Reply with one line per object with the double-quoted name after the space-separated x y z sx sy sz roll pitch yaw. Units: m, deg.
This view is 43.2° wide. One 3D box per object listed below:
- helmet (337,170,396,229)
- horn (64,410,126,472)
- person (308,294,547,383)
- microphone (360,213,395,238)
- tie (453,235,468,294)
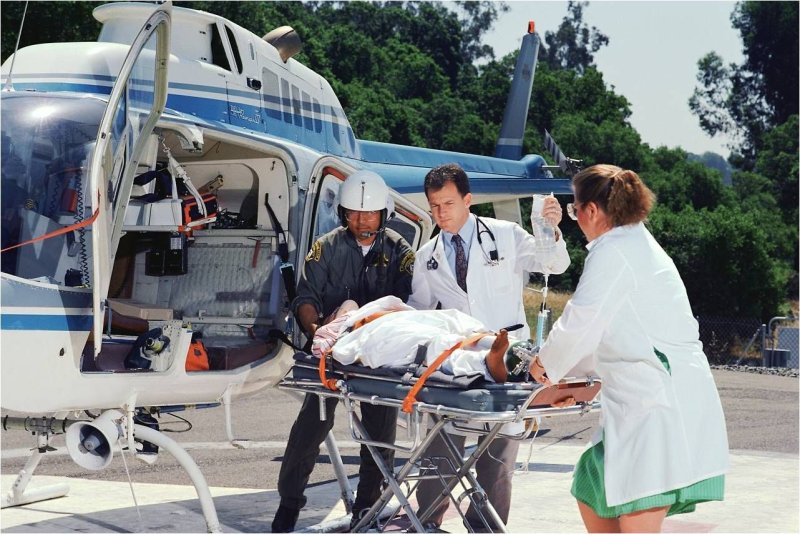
-0.317 -0.649 9.217 0.477 0.519 0.293 5 0 -5 "helmet"
-2.572 1.458 8.638 0.341 0.368 0.548 11 21 7 "horn"
0.106 0.630 8.481 1.223 0.597 2.135 0 7 -43 "person"
-0.219 -0.407 9.247 0.190 0.252 0.152 6 -7 -5 "microphone"
0.524 -0.052 8.927 0.155 0.495 0.061 4 0 1 "tie"
